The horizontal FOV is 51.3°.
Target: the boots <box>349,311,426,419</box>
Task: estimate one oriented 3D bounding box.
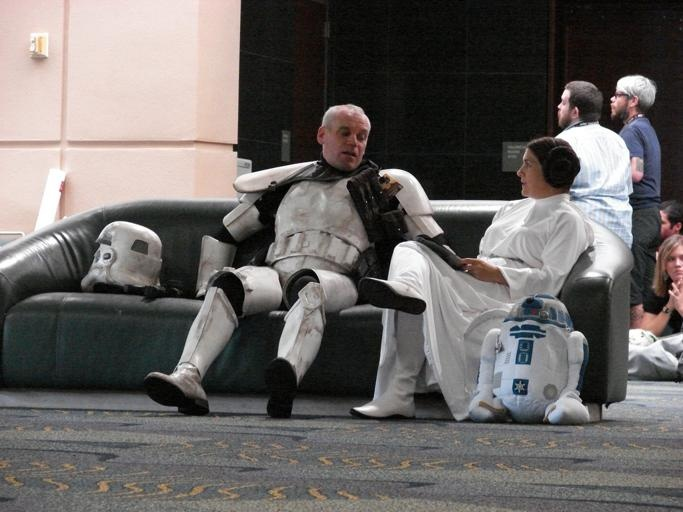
[{"bbox_3d":[0.161,0.375,2.391,0.156,0.342,0.270,4,6,21],"label":"boots"}]

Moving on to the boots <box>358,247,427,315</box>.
[{"bbox_3d":[0.157,0.102,2.312,0.235,0.095,0.205,21,26,-8],"label":"boots"}]

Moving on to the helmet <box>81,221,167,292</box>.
[{"bbox_3d":[-1.011,0.015,3.294,0.400,0.277,0.296,6,-1,-16],"label":"helmet"}]

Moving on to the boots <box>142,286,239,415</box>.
[{"bbox_3d":[-0.499,0.313,2.379,0.191,0.379,0.422,3,5,4],"label":"boots"}]

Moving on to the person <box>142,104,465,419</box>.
[{"bbox_3d":[-0.218,-0.007,2.750,1.119,1.124,1.188,1,1,26],"label":"person"}]
